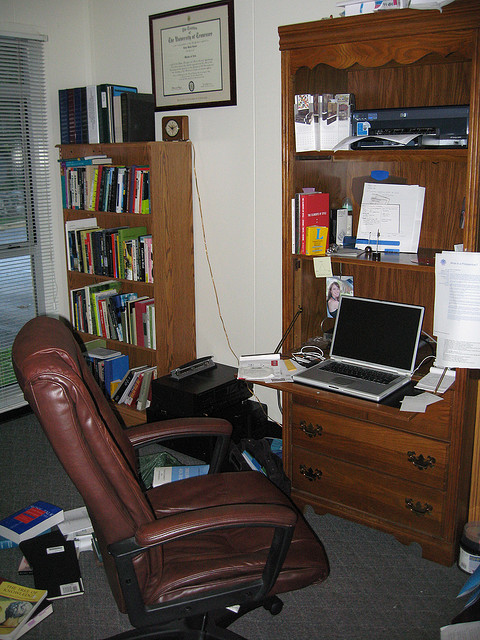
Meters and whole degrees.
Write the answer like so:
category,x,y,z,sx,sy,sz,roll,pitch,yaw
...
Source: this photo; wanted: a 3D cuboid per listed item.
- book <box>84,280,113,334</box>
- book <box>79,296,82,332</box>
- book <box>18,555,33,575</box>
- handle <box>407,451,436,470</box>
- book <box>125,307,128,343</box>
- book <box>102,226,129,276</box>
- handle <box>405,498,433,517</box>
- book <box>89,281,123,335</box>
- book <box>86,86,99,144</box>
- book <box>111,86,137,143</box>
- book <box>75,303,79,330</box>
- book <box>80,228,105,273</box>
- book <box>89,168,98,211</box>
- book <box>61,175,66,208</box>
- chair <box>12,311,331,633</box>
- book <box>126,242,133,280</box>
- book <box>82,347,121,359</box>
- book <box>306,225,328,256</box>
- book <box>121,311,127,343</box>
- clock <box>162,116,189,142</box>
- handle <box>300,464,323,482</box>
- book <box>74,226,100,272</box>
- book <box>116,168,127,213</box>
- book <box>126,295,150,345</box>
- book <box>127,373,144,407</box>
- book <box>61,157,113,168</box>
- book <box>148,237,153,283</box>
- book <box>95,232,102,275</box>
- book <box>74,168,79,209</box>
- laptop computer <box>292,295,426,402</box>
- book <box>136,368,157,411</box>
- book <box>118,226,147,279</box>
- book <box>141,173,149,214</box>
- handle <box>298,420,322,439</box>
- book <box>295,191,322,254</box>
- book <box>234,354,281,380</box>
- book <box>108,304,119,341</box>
category,x,y,z,sx,sy,sz,roll,pitch,yaw
book,-0.968,-0.101,3.456,0.206,0.207,0.049,1,15,26
book,-1.076,-0.034,3.410,0.011,0.218,0.039,-6,12,-22
book,-0.831,0.938,1.951,0.052,0.012,0.048,-3,10,-13
handle,0.669,0.508,1.852,0.013,0.066,0.086,-27,23,-38
book,-0.718,0.027,3.194,0.013,0.200,0.043,-5,12,-18
book,-0.764,-0.421,3.120,0.040,0.286,0.254,5,13,20
handle,0.678,0.699,1.908,0.007,0.069,0.097,-13,11,-42
book,-0.877,-0.070,3.294,0.057,0.395,0.304,7,12,40
book,-0.896,-1.259,3.082,0.044,0.388,0.296,-5,19,-18
book,-0.712,-1.237,3.044,0.067,0.274,0.275,-2,17,-14
book,-1.110,-0.035,3.433,0.012,0.170,0.043,-7,12,-26
book,-0.943,-0.446,3.244,0.034,0.314,0.240,5,13,23
book,-0.917,-0.811,3.162,0.045,0.193,0.194,5,0,-3
book,-1.174,-0.859,3.365,0.026,0.231,0.170,-4,15,-17
chair,-0.198,0.525,1.786,0.846,1.055,0.638,-12,20,-13
book,-0.667,-0.354,3.049,0.060,0.215,0.016,6,14,36
book,-0.922,0.215,3.342,0.171,0.040,0.168,-6,11,-44
book,0.306,-0.322,2.046,0.108,0.106,0.042,-9,20,-24
book,-0.738,0.034,3.210,0.022,0.217,0.167,-5,11,-14
clock,-0.366,-1.085,2.875,0.143,0.126,0.051,7,18,21
handle,0.312,0.657,2.197,0.094,0.079,0.014,3,20,42
book,-1.021,-0.464,3.315,0.210,0.210,0.050,-11,20,-25
book,-0.706,-0.766,2.985,0.049,0.199,0.196,1,15,-13
book,-0.630,0.013,3.115,0.037,0.276,0.244,3,12,18
book,-0.646,0.429,3.162,0.056,0.176,0.173,20,0,4
book,-0.998,-1.005,3.229,0.330,0.058,0.157,-2,11,-3
book,-0.524,-0.349,2.944,0.026,0.257,0.050,-4,11,-11
book,-0.896,-0.434,3.203,0.030,0.277,0.214,-6,15,-17
book,-1.059,-0.845,3.265,0.010,0.250,0.055,-12,15,-42
laptop computer,0.459,0.087,1.965,0.382,0.289,0.407,8,14,39
book,-0.585,0.421,3.103,0.055,0.214,0.209,10,4,11
book,-0.654,-0.393,3.048,0.045,0.344,0.265,6,14,26
book,-0.542,-0.717,2.882,0.039,0.161,0.158,4,9,-4
handle,0.302,0.459,2.148,0.089,0.074,0.002,9,18,44
book,0.277,-0.396,2.042,0.037,0.261,0.201,8,18,27
book,0.082,0.193,2.118,0.162,0.074,0.211,-2,5,-3
book,-0.811,0.004,3.235,0.039,0.275,0.029,-9,13,16
